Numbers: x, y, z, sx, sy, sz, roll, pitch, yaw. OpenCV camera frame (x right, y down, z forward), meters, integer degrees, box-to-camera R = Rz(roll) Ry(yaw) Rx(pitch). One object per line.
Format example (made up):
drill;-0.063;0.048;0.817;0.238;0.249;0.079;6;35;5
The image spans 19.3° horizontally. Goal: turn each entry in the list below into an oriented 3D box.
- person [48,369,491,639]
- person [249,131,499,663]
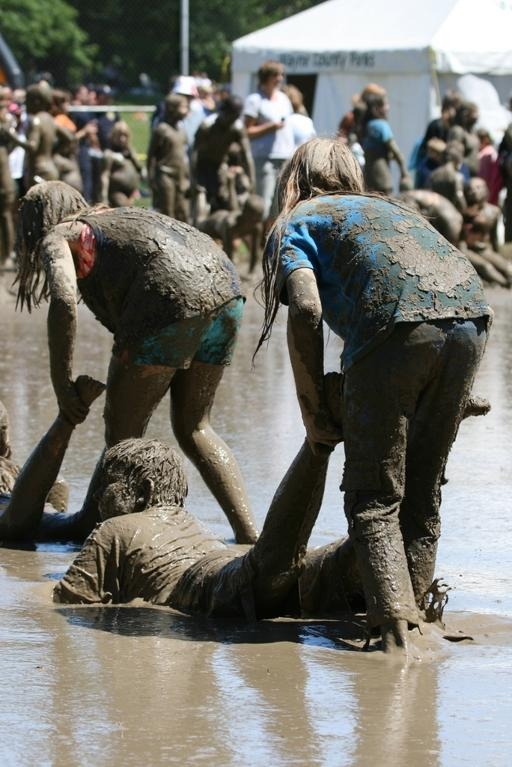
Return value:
person;-0.063;0.435;4.557;1.213;0.687;0.673;2;5;33
person;0.316;-0.012;4.251;0.696;1.345;0.562;9;11;38
